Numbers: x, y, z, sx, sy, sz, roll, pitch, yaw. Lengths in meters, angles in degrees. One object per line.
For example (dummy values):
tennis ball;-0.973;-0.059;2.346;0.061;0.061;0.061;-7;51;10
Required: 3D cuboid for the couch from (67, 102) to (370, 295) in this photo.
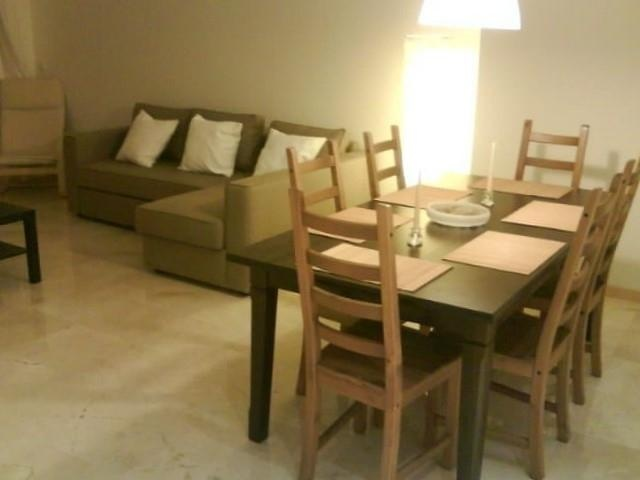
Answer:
couch;-0.728;-0.291;3.842;1.222;0.521;0.815;22;44;28
